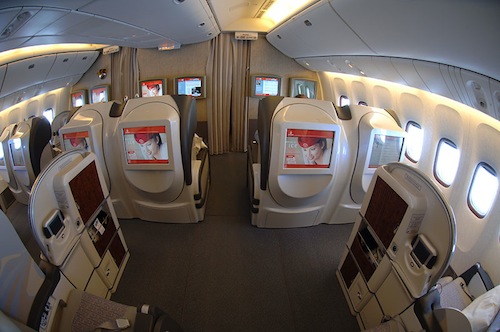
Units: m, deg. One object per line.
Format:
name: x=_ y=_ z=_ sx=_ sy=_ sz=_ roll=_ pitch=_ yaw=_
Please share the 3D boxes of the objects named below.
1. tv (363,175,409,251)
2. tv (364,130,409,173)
tv: x=1.890 y=0.659 z=4.361 sx=0.084 sy=0.827 sz=0.722 roll=-2 pitch=41 yaw=-19
tv: x=2.279 y=-0.252 z=5.364 sx=0.604 sy=0.588 sz=0.152 roll=4 pitch=14 yaw=-11
